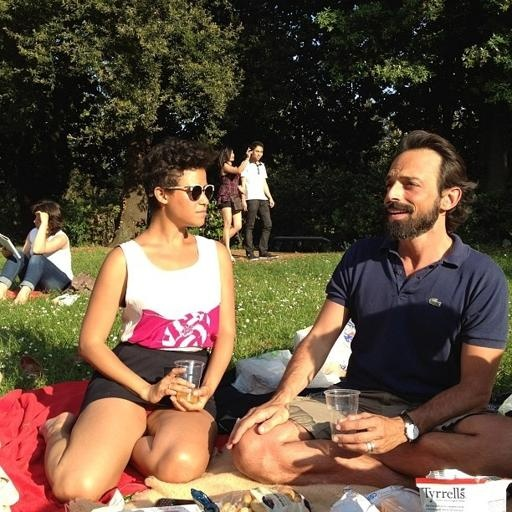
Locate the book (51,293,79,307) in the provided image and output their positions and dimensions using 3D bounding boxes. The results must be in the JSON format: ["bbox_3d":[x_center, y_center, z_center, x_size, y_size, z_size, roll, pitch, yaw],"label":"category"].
[{"bbox_3d":[-3.095,0.731,7.289,0.392,0.234,0.187,8,-10,-43],"label":"book"}]

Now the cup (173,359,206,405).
[{"bbox_3d":[-0.393,0.752,2.597,0.175,0.196,0.176,-1,-28,0],"label":"cup"}]

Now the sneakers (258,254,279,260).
[{"bbox_3d":[0.367,0.037,13.474,0.599,0.222,0.208,0,7,1],"label":"sneakers"}]

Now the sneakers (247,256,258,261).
[{"bbox_3d":[-0.089,0.088,12.988,0.311,0.116,0.102,21,-9,-20],"label":"sneakers"}]

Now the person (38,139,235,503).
[{"bbox_3d":[-0.581,0.277,2.604,1.002,1.923,1.119,12,2,-3],"label":"person"}]

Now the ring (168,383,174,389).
[{"bbox_3d":[-0.481,0.733,2.495,0.007,0.023,0.023,32,22,37],"label":"ring"}]

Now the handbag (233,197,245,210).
[{"bbox_3d":[-0.461,-1.330,11.389,0.128,0.271,0.307,-12,10,32],"label":"handbag"}]

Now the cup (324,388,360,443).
[{"bbox_3d":[0.373,0.709,2.051,0.242,0.238,0.218,2,-6,5],"label":"cup"}]
